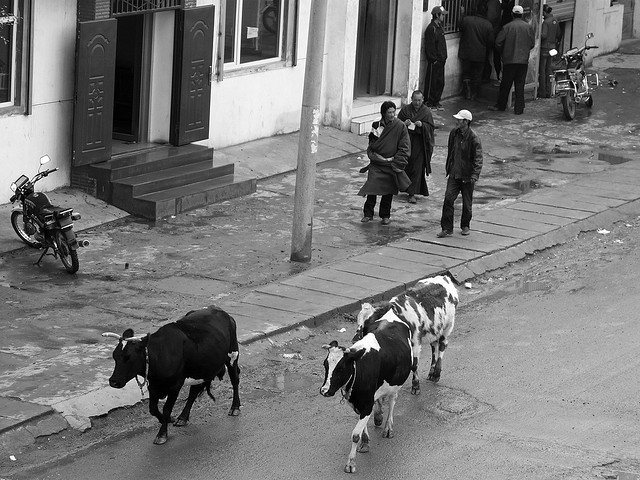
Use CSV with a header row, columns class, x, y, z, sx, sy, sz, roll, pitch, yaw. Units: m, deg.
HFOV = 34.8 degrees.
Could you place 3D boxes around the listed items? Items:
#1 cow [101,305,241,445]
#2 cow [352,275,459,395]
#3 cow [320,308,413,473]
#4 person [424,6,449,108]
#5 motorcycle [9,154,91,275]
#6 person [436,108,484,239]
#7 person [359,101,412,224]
class,x,y,z,sx,sy,sz,roll,pitch,yaw
cow,-1.617,1.507,11.400,0.708,1.336,2.021,8,13,33
cow,1.062,1.207,12.408,0.624,1.293,2.069,4,9,40
cow,0.533,1.700,11.150,0.651,1.417,1.495,4,11,24
person,2.954,-4.714,26.184,0.557,2.591,0.869,0,10,6
motorcycle,-4.335,-0.435,16.105,0.920,1.617,2.158,-25,30,-33
person,2.405,-1.148,17.620,0.768,2.206,0.636,1,10,12
person,1.179,-1.414,18.504,0.890,2.200,0.971,0,10,5
